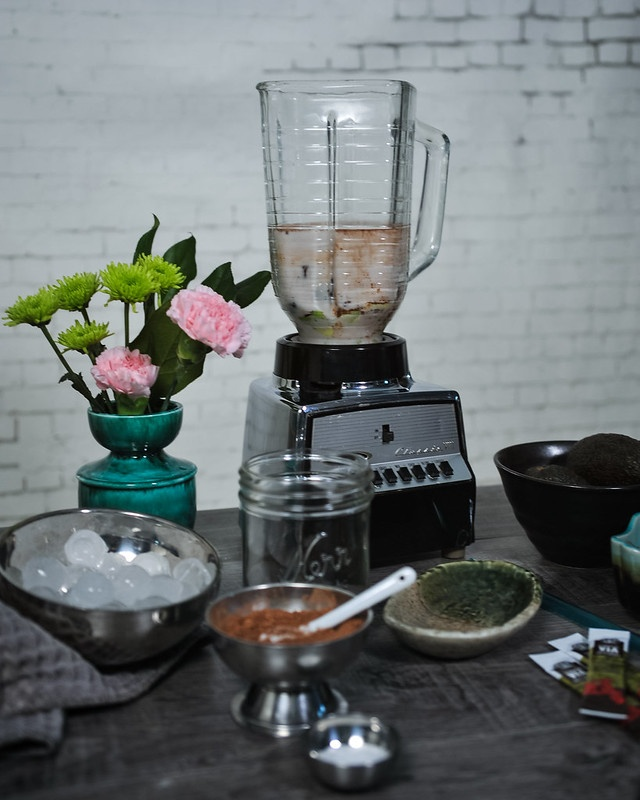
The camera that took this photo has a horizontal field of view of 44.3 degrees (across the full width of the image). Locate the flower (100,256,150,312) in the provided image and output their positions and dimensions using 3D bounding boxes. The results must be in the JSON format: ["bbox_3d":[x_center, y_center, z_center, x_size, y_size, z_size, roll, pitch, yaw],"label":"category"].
[{"bbox_3d":[-0.203,-0.115,0.800,0.058,0.020,0.048,-7,47,-7],"label":"flower"}]

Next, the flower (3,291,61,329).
[{"bbox_3d":[-0.293,-0.086,0.805,0.052,0.026,0.050,-30,14,-7],"label":"flower"}]

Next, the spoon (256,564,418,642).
[{"bbox_3d":[0.009,0.154,0.590,0.157,0.016,0.027,-22,39,-4],"label":"spoon"}]

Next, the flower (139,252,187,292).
[{"bbox_3d":[-0.161,-0.125,0.801,0.048,0.019,0.043,7,19,-33],"label":"flower"}]

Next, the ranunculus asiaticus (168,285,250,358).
[{"bbox_3d":[-0.105,-0.072,0.741,0.051,0.068,0.086,6,14,27],"label":"ranunculus asiaticus"}]

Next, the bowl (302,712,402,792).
[{"bbox_3d":[0.019,0.209,0.462,0.050,0.037,0.027,-1,13,1],"label":"bowl"}]

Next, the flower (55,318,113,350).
[{"bbox_3d":[-0.250,-0.073,0.806,0.044,0.019,0.040,-20,18,-4],"label":"flower"}]

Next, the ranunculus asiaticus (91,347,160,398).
[{"bbox_3d":[-0.191,-0.025,0.771,0.072,0.031,0.067,2,37,-33],"label":"ranunculus asiaticus"}]

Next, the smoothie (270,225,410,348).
[{"bbox_3d":[0.026,-0.129,0.906,0.181,0.124,0.175,-1,3,-4],"label":"smoothie"}]

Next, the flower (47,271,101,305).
[{"bbox_3d":[-0.256,-0.121,0.807,0.044,0.017,0.040,-21,33,-10],"label":"flower"}]

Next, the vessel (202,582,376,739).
[{"bbox_3d":[-0.021,0.183,0.550,0.132,0.064,0.114,1,3,-12],"label":"vessel"}]

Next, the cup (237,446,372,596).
[{"bbox_3d":[-0.005,0.102,0.665,0.112,0.099,0.105,-1,18,0],"label":"cup"}]
